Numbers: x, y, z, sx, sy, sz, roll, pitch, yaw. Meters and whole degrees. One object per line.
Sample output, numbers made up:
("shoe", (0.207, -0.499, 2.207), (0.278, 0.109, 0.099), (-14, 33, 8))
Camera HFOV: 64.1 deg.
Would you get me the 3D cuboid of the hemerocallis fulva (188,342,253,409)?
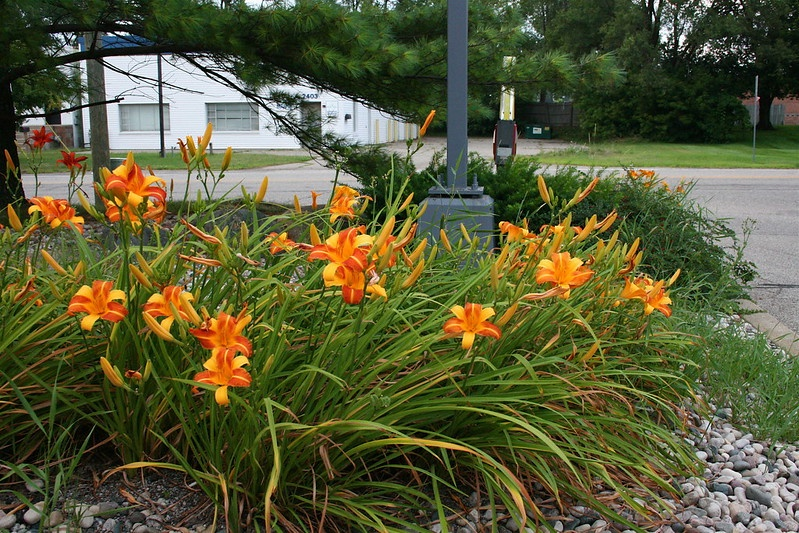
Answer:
("hemerocallis fulva", (-0.693, 0.459, 2.561), (0.198, 0.247, 0.120), (-3, -25, 7))
